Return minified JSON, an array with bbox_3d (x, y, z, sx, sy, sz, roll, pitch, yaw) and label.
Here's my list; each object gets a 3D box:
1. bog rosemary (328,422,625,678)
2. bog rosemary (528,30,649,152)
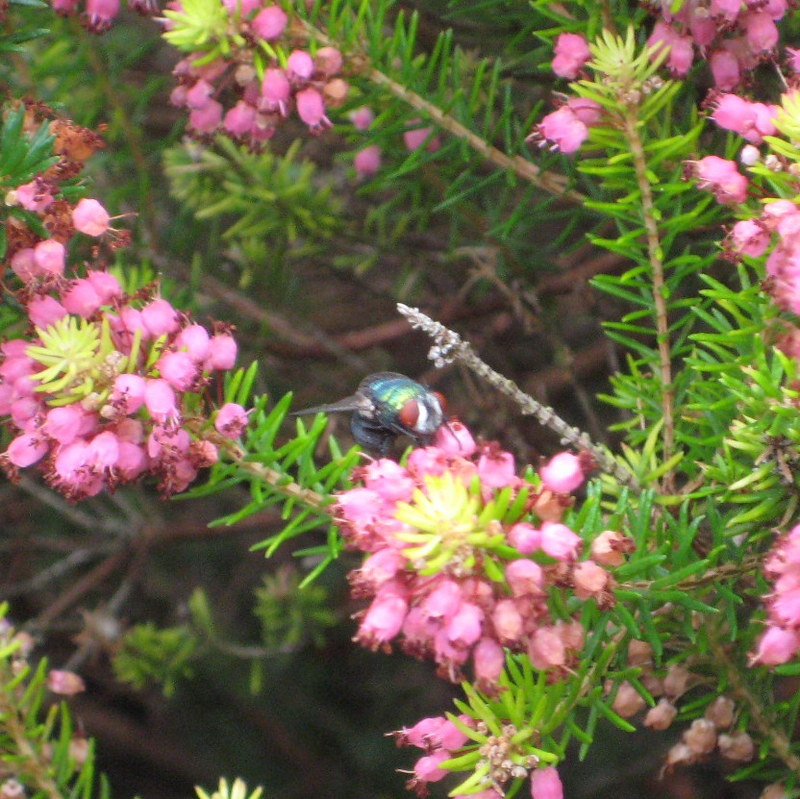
[{"bbox_3d":[0.088,0.168,1.519,0.382,0.320,0.257,1,99,-30],"label":"bog rosemary"},{"bbox_3d":[0.269,-0.422,1.645,0.189,0.159,0.226,16,15,41],"label":"bog rosemary"}]
